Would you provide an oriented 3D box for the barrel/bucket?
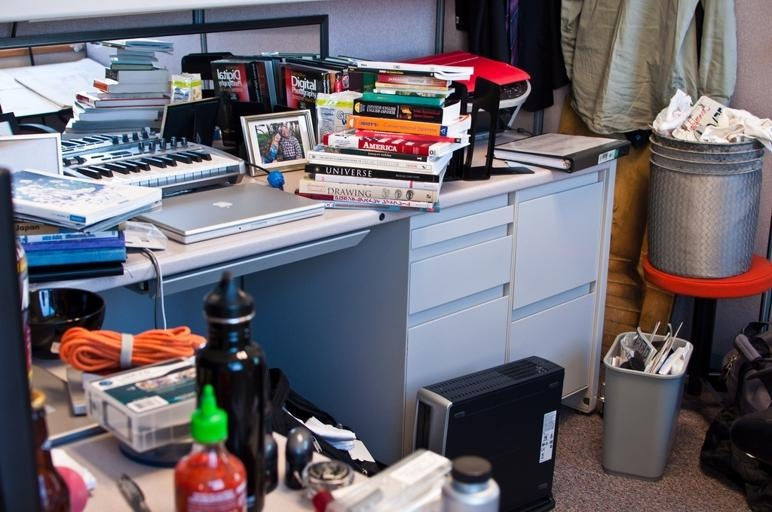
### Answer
[{"bbox_3d":[1.135,-0.223,2.587,0.534,0.549,0.500,-1,14,0],"label":"barrel/bucket"}]

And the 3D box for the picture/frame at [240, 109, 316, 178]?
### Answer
[{"bbox_3d":[-0.335,-0.345,1.972,0.243,0.183,0.019,-12,9,-31],"label":"picture/frame"}]

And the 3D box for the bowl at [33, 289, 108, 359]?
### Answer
[{"bbox_3d":[-0.680,0.126,1.338,0.145,0.082,0.147,3,27,-1],"label":"bowl"}]

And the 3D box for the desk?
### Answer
[{"bbox_3d":[-0.198,0.194,2.226,2.104,1.001,0.967,-10,21,-31],"label":"desk"}]

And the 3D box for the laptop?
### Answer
[{"bbox_3d":[-0.420,-0.121,1.691,0.428,0.068,0.270,-18,24,-34],"label":"laptop"}]
